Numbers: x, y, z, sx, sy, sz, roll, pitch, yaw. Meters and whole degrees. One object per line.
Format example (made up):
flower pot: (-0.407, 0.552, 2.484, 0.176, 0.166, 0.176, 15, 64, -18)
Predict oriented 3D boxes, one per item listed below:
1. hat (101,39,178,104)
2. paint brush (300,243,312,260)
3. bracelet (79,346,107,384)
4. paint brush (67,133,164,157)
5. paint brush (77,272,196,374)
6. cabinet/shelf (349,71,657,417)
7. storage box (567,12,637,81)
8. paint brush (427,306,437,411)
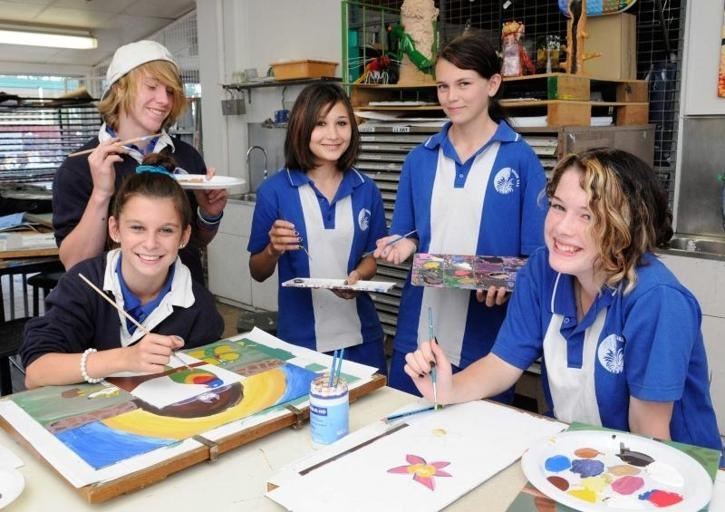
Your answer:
hat: (-0.946, -0.794, 2.255, 0.206, 0.142, 0.259, -4, -14, -24)
paint brush: (-0.253, -0.023, 2.434, 0.017, 0.085, 0.025, -42, 13, -7)
bracelet: (-0.814, 0.326, 1.647, 0.030, 0.089, 0.073, -8, -21, 13)
paint brush: (-0.972, -0.441, 2.141, 0.351, 0.082, 0.193, -7, 11, -22)
paint brush: (-0.771, 0.224, 1.808, 0.017, 0.406, 0.015, -29, 16, 43)
cabinet/shelf: (0.403, 0.120, 2.418, 0.730, 1.889, 0.627, 11, 24, 26)
storage box: (1.512, -1.247, 3.269, 0.375, 0.395, 0.247, -9, 12, -31)
paint brush: (0.219, 0.322, 1.698, 0.024, 0.292, 0.032, -1, -7, -5)
